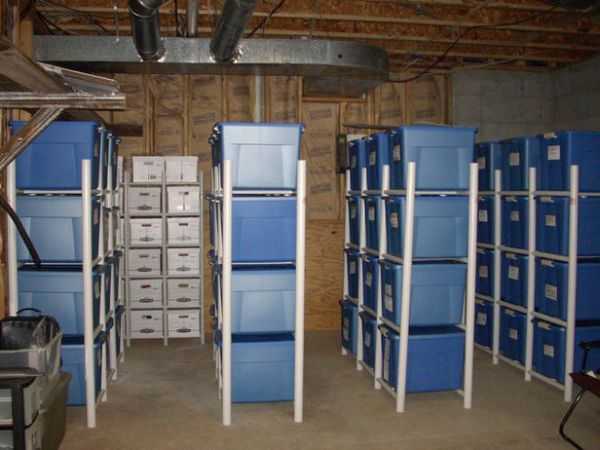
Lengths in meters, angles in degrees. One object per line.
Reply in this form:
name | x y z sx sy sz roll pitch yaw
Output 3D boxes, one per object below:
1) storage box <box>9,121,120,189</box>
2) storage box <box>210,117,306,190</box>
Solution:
storage box | -2.226 -0.627 5.753 0.727 0.475 0.563 0 1 -11
storage box | -0.397 -0.637 5.709 0.713 0.468 0.570 0 -1 -12
